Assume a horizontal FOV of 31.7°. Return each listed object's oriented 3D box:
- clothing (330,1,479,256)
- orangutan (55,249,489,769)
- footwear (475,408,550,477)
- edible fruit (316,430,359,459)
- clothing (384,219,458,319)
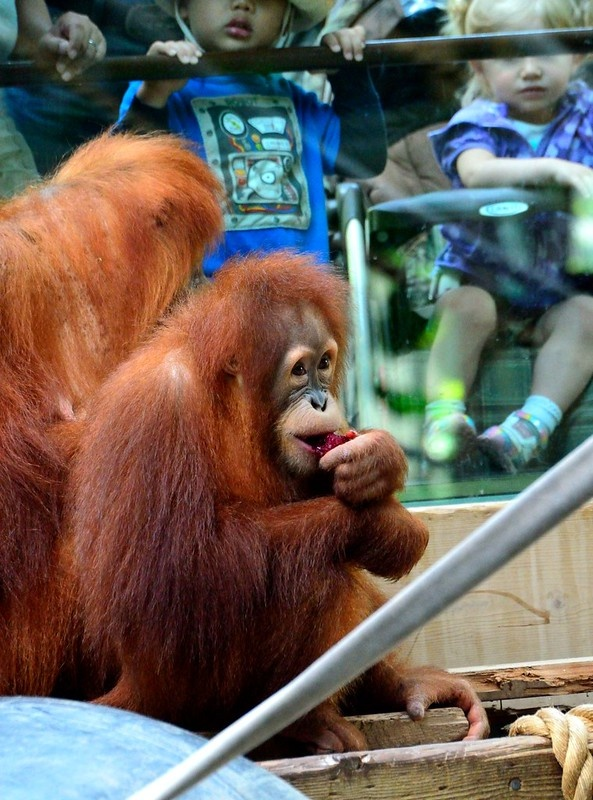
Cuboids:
[{"bbox_3d":[0.076,-0.397,1.568,0.241,0.297,0.317,-1,-6,-10],"label":"clothing"},{"bbox_3d":[-0.052,0.149,1.405,0.523,0.649,0.375,-3,1,20],"label":"orangutan"},{"bbox_3d":[0.288,0.059,1.405,0.105,0.064,0.046,-41,-4,-27],"label":"footwear"},{"bbox_3d":[0.051,0.053,1.311,0.046,0.012,0.027,-30,27,-3],"label":"edible fruit"},{"bbox_3d":[0.167,-0.172,1.400,0.085,0.121,0.051,-11,0,-8],"label":"clothing"}]
